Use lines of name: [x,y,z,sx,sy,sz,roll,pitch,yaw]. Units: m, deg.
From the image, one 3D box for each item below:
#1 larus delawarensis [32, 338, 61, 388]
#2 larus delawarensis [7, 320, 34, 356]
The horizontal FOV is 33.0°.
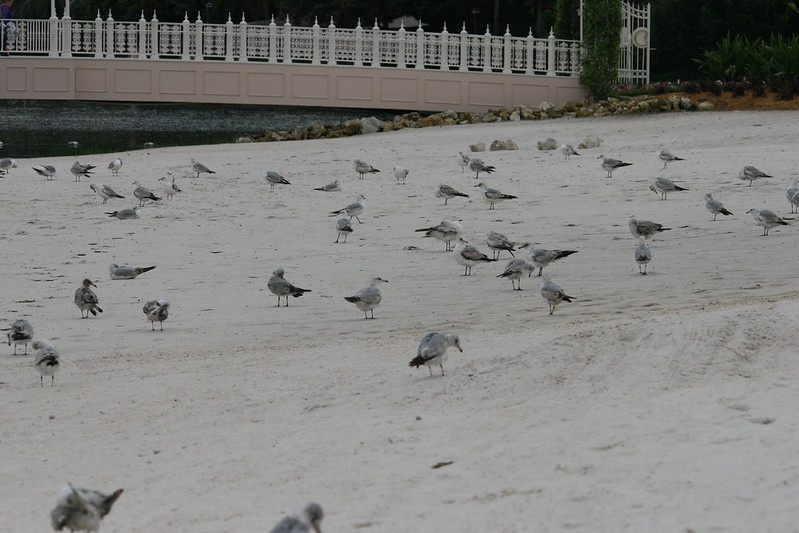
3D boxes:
larus delawarensis: [-5.732,1.496,21.722,0.388,0.626,1.216,-4,10,-16]
larus delawarensis: [-6.408,1.159,22.645,0.402,0.610,0.715,-4,10,-16]
